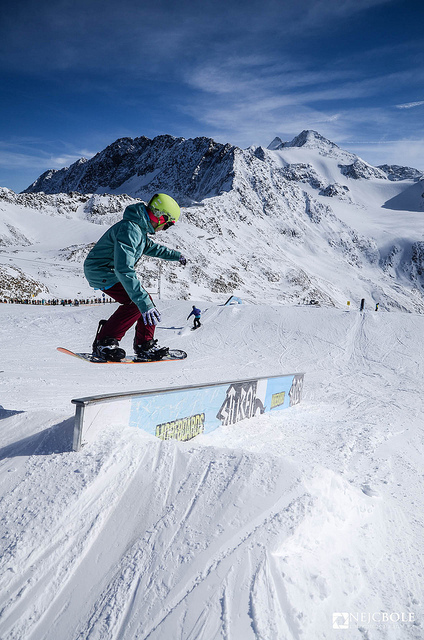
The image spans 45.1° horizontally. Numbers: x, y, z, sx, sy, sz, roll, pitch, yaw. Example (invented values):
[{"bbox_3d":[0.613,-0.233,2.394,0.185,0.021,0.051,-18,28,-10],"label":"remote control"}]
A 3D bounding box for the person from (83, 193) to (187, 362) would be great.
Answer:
[{"bbox_3d":[-0.826,-0.393,5.141,0.979,1.786,1.116,2,10,-4],"label":"person"}]

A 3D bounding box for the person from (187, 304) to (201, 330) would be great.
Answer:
[{"bbox_3d":[-0.664,-0.088,18.535,0.505,0.884,0.349,-24,57,-8],"label":"person"}]

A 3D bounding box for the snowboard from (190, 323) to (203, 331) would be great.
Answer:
[{"bbox_3d":[-0.554,0.244,17.830,0.127,0.221,0.569,5,17,39],"label":"snowboard"}]
